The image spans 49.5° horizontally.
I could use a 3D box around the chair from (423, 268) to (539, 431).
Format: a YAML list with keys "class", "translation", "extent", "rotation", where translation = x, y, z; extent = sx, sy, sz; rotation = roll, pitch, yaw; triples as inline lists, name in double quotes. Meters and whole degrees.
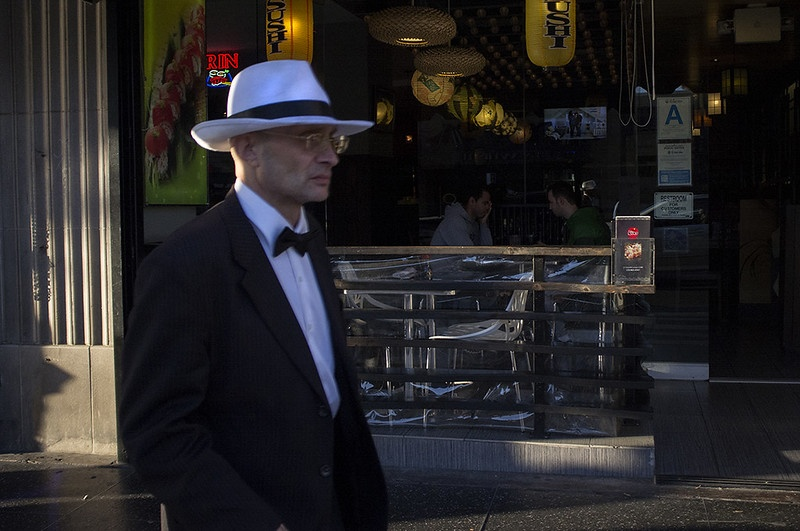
- class: "chair"
  translation: [0.625, 0.859, 7.391]
  extent: [1.116, 1.487, 0.905]
  rotation: [-3, 17, -2]

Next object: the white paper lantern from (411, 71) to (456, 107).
- class: "white paper lantern"
  translation: [0.415, -2.127, 10.609]
  extent: [0.435, 0.434, 0.475]
  rotation: [6, 4, -19]

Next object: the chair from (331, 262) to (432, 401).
- class: "chair"
  translation: [-0.047, 0.465, 7.887]
  extent: [1.139, 1.498, 1.111]
  rotation: [0, 8, 5]

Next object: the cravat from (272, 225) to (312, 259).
- class: "cravat"
  translation: [-0.552, -0.115, 4.325]
  extent: [0.046, 0.093, 0.167]
  rotation: [11, 3, 34]

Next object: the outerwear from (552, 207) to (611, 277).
- class: "outerwear"
  translation: [2.042, -0.250, 9.310]
  extent: [0.477, 0.826, 0.881]
  rotation: [-2, -26, 19]

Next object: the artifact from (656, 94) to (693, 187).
- class: "artifact"
  translation: [3.042, -1.372, 9.578]
  extent: [0.364, 0.983, 0.260]
  rotation: [2, 12, 13]

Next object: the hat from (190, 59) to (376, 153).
- class: "hat"
  translation: [-0.664, -0.851, 4.533]
  extent: [0.954, 0.344, 0.900]
  rotation: [-8, 4, -18]

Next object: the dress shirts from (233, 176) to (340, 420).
- class: "dress shirts"
  translation: [-0.537, 0.185, 4.340]
  extent: [0.231, 1.070, 0.726]
  rotation: [-18, -11, 19]

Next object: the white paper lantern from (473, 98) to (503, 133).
- class: "white paper lantern"
  translation: [1.119, -1.854, 10.691]
  extent: [0.299, 0.363, 0.311]
  rotation: [0, 5, 33]

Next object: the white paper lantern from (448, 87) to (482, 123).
- class: "white paper lantern"
  translation: [0.806, -1.987, 10.711]
  extent: [0.454, 0.497, 0.425]
  rotation: [-2, 9, -9]

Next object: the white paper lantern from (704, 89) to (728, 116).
- class: "white paper lantern"
  translation: [3.496, -1.809, 9.585]
  extent: [0.311, 0.288, 0.163]
  rotation: [-1, 1, 2]

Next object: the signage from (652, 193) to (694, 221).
- class: "signage"
  translation: [3.046, -0.644, 9.560]
  extent: [0.401, 0.291, 0.052]
  rotation: [1, 5, 18]

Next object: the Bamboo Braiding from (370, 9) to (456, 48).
- class: "Bamboo Braiding"
  translation: [0.133, -2.514, 9.113]
  extent: [0.585, 0.170, 0.521]
  rotation: [2, 3, 18]

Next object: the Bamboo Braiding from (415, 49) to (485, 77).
- class: "Bamboo Braiding"
  translation: [0.583, -2.423, 10.338]
  extent: [0.816, 0.343, 0.454]
  rotation: [0, 12, 5]
